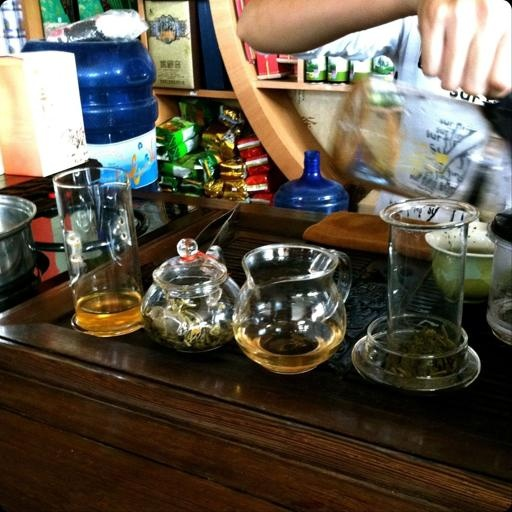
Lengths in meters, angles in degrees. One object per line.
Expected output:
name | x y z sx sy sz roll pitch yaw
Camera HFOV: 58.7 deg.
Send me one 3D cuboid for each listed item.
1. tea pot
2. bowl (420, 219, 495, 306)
tea pot | 0.040 0.055 0.480 0.109 0.114 0.129 16 34 29
bowl | 0.251 0.009 0.645 0.150 0.085 0.130 -3 23 9
